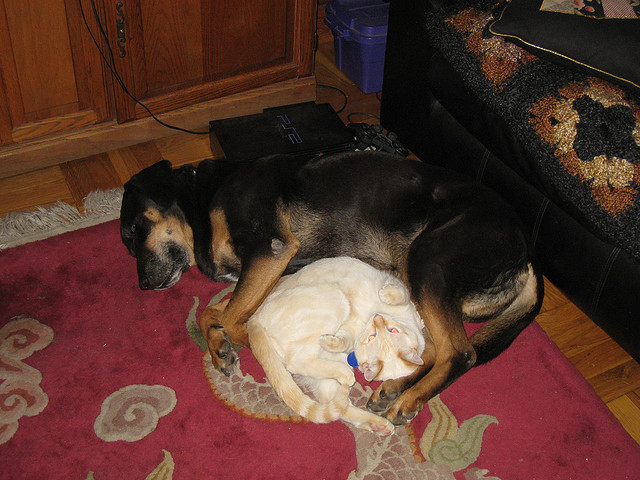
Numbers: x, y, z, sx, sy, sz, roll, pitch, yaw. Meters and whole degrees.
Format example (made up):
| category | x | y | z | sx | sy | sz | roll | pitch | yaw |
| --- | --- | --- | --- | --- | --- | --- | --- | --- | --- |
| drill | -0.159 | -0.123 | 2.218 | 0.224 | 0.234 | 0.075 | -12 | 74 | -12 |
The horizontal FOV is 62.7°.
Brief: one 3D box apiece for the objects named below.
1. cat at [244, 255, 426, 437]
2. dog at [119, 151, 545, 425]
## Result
| category | x | y | z | sx | sy | sz | roll | pitch | yaw |
| --- | --- | --- | --- | --- | --- | --- | --- | --- | --- |
| cat | 0.119 | 0.402 | 2.094 | 0.715 | 0.224 | 0.722 | -14 | 70 | -37 |
| dog | -0.041 | 0.097 | 2.449 | 2.011 | 0.651 | 1.146 | 5 | 84 | 14 |
